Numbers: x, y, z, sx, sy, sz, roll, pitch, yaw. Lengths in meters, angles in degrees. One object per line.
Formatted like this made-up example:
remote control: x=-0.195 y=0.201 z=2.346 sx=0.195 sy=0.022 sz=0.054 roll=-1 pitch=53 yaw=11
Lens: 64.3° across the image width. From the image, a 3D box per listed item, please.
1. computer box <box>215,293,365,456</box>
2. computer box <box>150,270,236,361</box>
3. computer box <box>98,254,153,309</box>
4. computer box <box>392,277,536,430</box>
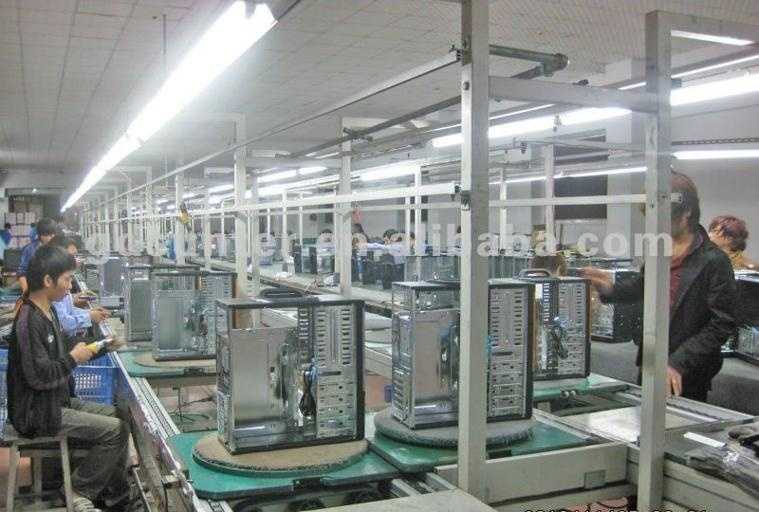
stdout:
computer box: x=-0.335 y=0.624 z=2.945 sx=0.681 sy=0.585 sz=0.386 roll=-10 pitch=-25 yaw=13
computer box: x=-1.312 y=0.425 z=4.616 sx=0.705 sy=0.688 sz=0.403 roll=-5 pitch=-6 yaw=22
computer box: x=-2.592 y=0.273 z=6.078 sx=0.598 sy=0.573 sz=0.439 roll=2 pitch=1 yaw=27
computer box: x=0.354 y=0.487 z=3.028 sx=0.735 sy=0.653 sz=0.410 roll=3 pitch=-4 yaw=-28
